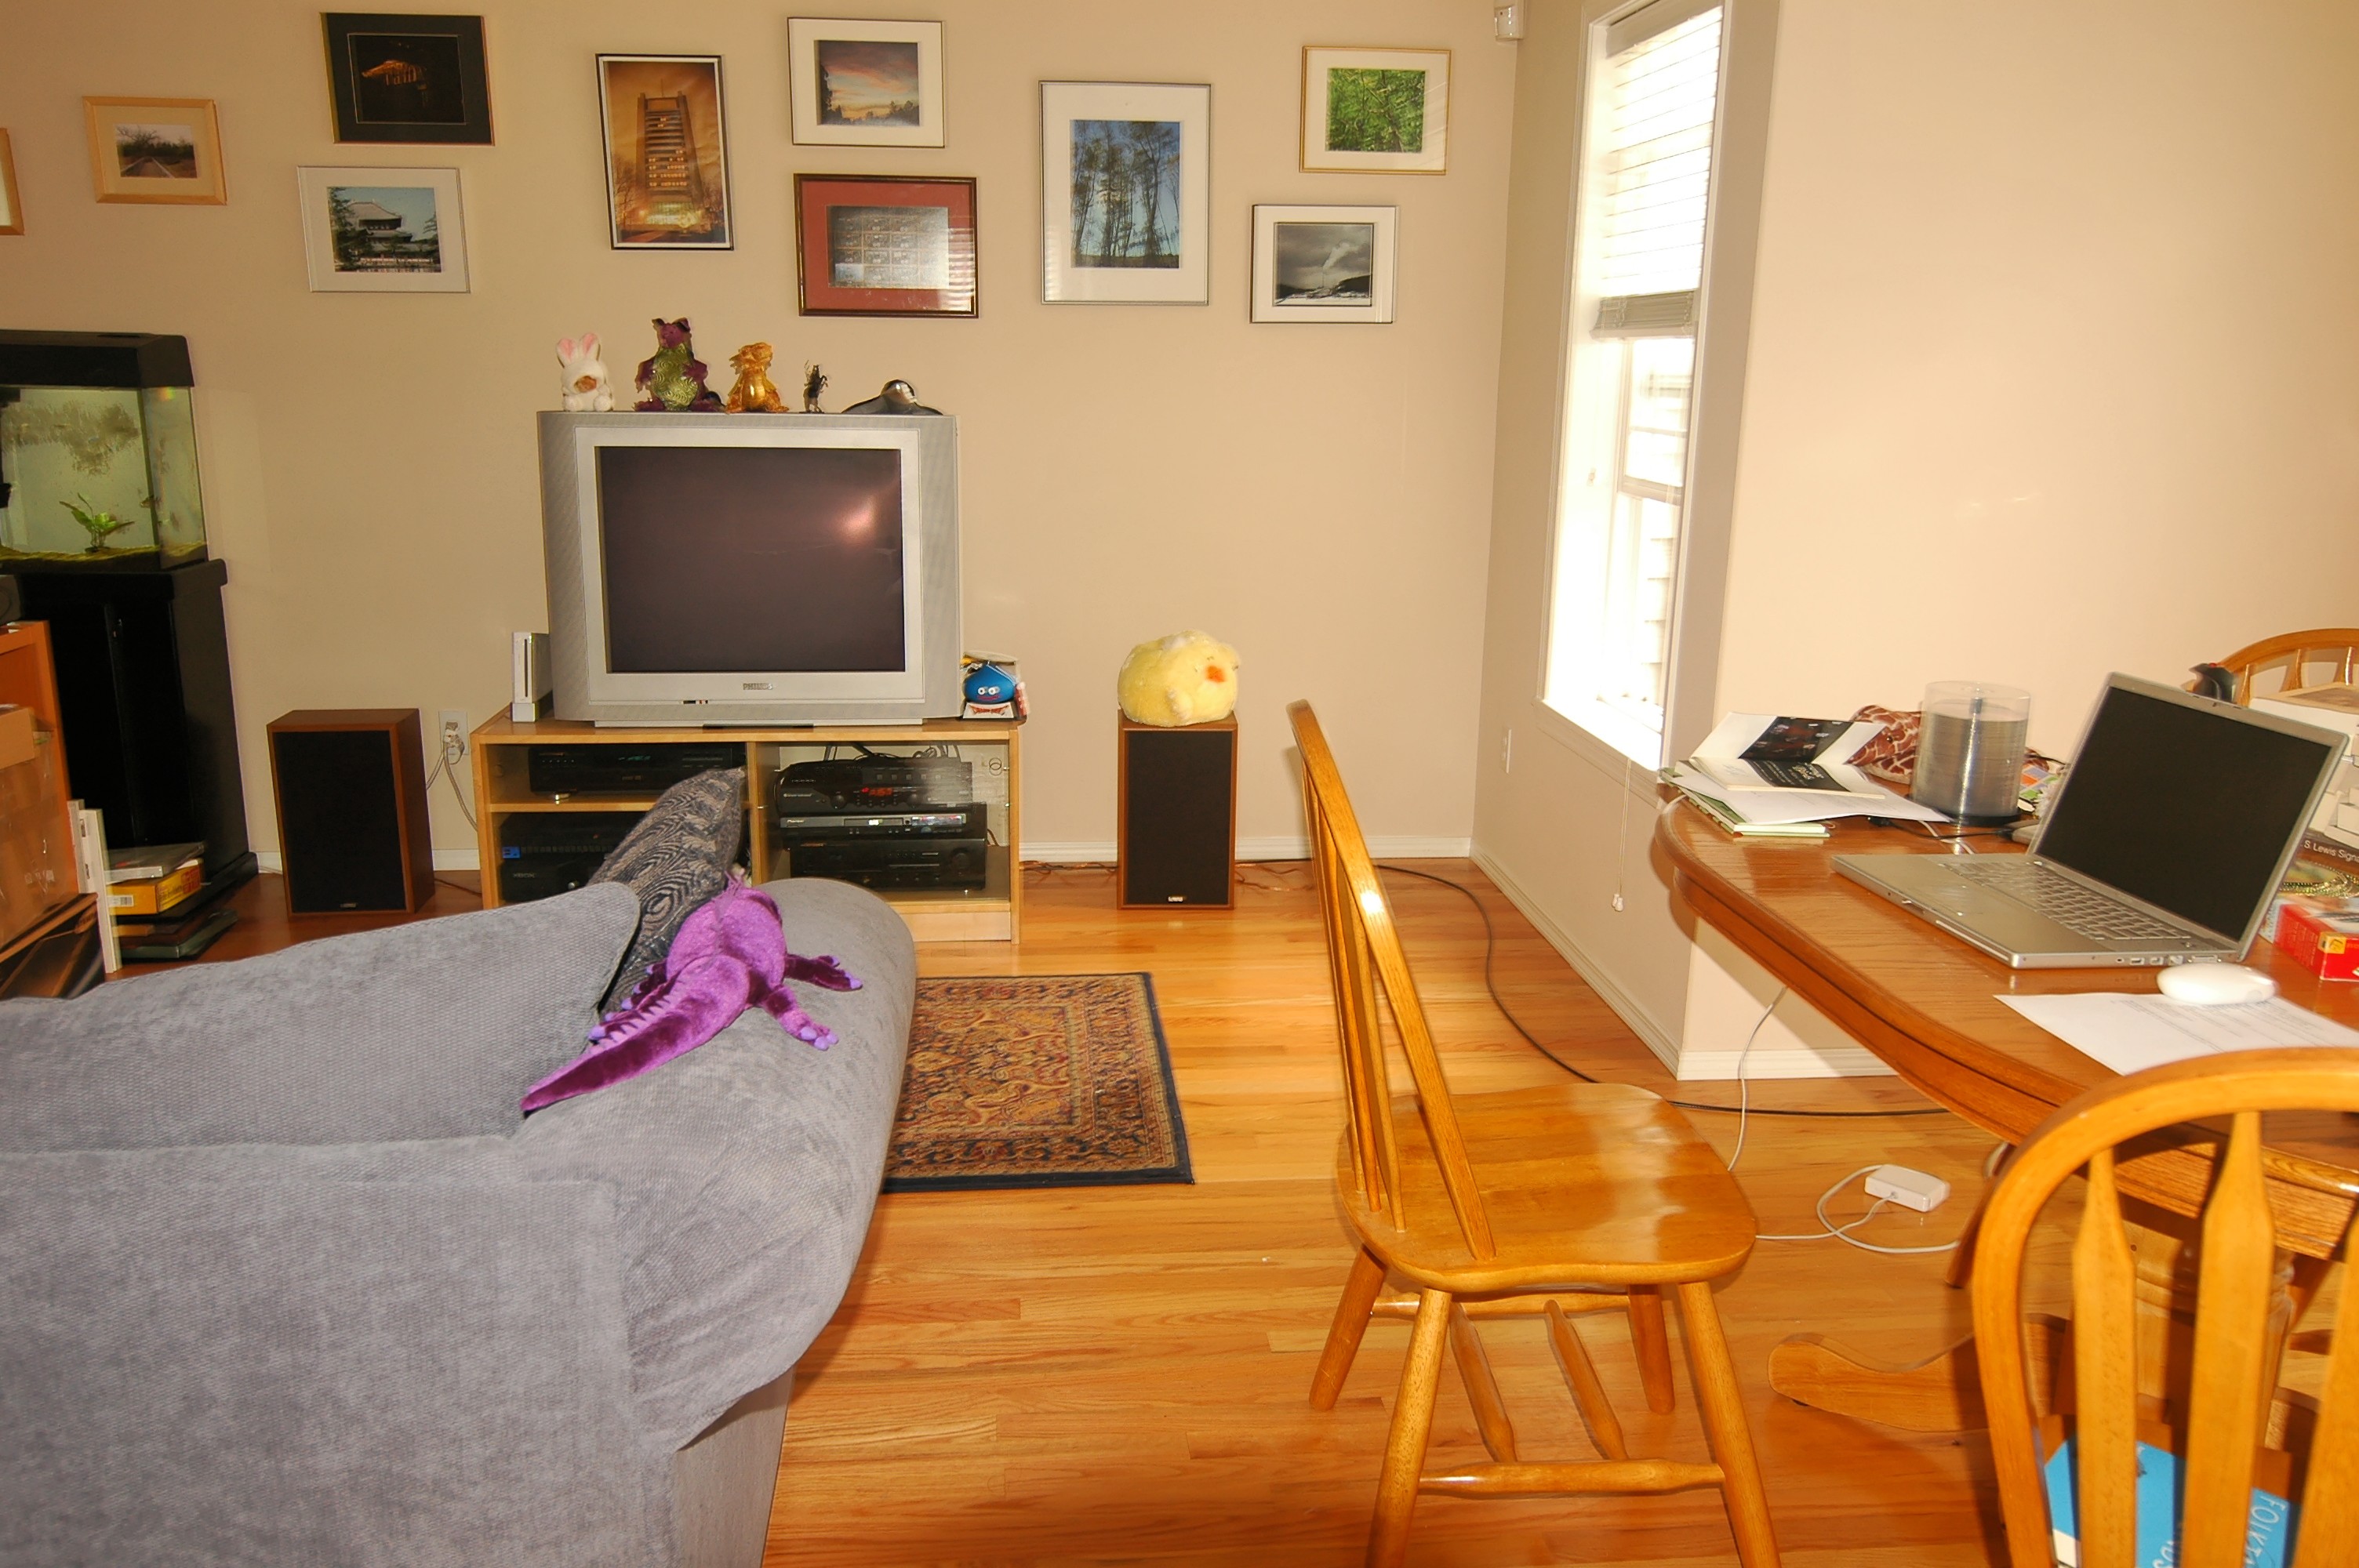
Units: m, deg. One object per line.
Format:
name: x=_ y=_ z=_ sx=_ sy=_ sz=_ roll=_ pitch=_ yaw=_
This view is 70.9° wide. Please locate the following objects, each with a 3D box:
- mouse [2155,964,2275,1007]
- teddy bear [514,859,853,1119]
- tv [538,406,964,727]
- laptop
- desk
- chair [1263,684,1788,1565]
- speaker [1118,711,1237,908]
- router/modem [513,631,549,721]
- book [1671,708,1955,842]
mouse: x=1.396 y=0.266 z=2.223 sx=0.095 sy=0.021 sz=0.070 roll=-5 pitch=13 yaw=-13
teddy bear: x=-0.676 y=0.288 z=2.375 sx=0.387 sy=0.174 sz=0.616 roll=3 pitch=15 yaw=5
tv: x=-1.069 y=-0.588 z=4.752 sx=1.608 sy=1.026 sz=0.799 roll=-1 pitch=7 yaw=-4
laptop: x=1.303 y=0.063 z=2.408 sx=0.511 sy=0.308 sz=0.515 roll=-2 pitch=13 yaw=-9
desk: x=1.152 y=0.273 z=2.299 sx=0.652 sy=0.203 sz=0.903 roll=-2 pitch=18 yaw=-8
chair: x=0.685 y=0.649 z=3.138 sx=1.126 sy=1.800 sz=1.024 roll=-4 pitch=20 yaw=1
speaker: x=-0.007 y=0.094 z=4.810 sx=0.498 sy=0.651 sz=0.479 roll=0 pitch=6 yaw=-1
router/modem: x=-1.770 y=-0.292 z=4.511 sx=0.055 sy=0.205 sz=0.203 roll=0 pitch=4 yaw=-7
book: x=1.053 y=-0.018 z=2.876 sx=0.273 sy=0.095 sz=0.268 roll=-2 pitch=19 yaw=-5
